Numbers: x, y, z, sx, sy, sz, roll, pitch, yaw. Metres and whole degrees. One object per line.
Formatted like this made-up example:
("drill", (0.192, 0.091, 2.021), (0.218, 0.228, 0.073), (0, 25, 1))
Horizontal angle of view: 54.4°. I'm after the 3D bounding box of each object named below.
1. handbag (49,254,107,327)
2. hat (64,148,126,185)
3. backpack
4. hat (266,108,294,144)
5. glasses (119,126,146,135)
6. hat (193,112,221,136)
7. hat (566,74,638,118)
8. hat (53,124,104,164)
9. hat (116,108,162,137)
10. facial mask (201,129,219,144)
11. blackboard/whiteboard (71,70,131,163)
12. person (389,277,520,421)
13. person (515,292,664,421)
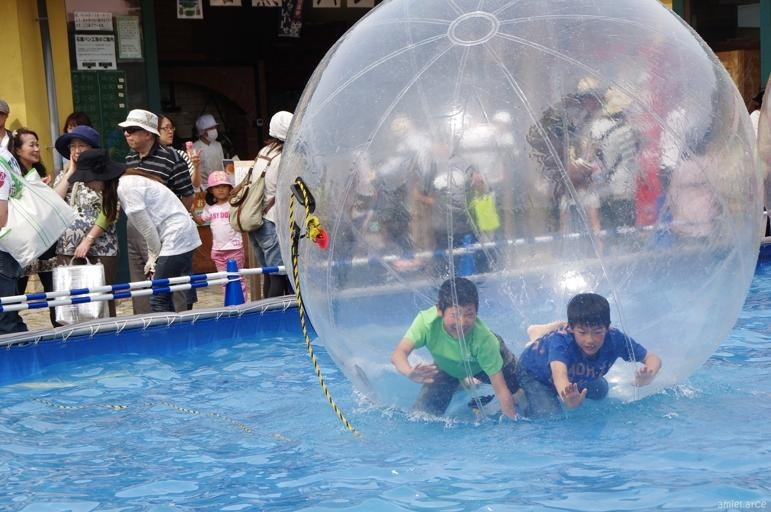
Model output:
("handbag", (-3.012, 0.321, 7.332), (0.493, 0.653, 0.233), (-4, 26, -28))
("hat", (-2.701, -0.912, 6.879), (0.547, 0.244, 0.605), (-11, 25, -17))
("backpack", (-1.303, -0.708, 7.680), (0.456, 0.898, 0.474), (18, 21, 10))
("hat", (-1.064, -1.308, 7.541), (0.197, 0.283, 0.433), (-4, 12, -6))
("glasses", (-2.440, -1.226, 7.198), (0.224, 0.078, 0.240), (-1, -3, 45))
("hat", (-2.561, -1.880, 10.640), (0.345, 0.211, 0.369), (-21, 12, -1))
("hat", (1.255, -0.931, 4.286), (0.307, 0.213, 0.084), (25, -11, -9))
("hat", (-3.053, -1.133, 7.527), (0.348, 0.177, 0.441), (-12, -23, -2))
("hat", (-2.383, -1.309, 7.264), (0.342, 0.197, 0.272), (-9, 16, -35))
("facial mask", (-2.512, -1.731, 10.646), (0.178, 0.162, 0.183), (-13, 16, 2))
("blackboard/whiteboard", (-3.825, -1.932, 9.965), (0.694, 0.136, 1.278), (-11, -39, -27))
("person", (0.416, 0.527, 4.653), (0.749, 0.824, 1.434), (-2, -34, 10))
("person", (1.205, 0.569, 4.528), (0.396, 0.522, 0.864), (-12, -24, -7))
